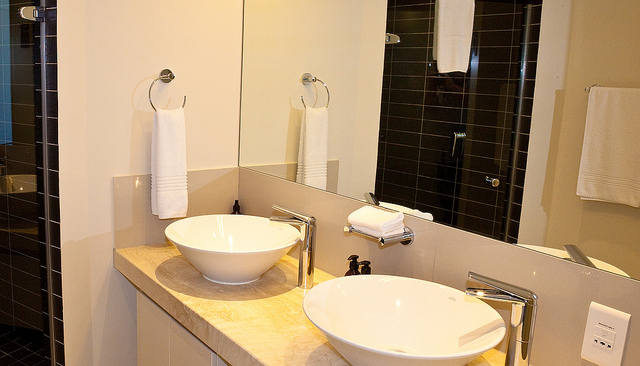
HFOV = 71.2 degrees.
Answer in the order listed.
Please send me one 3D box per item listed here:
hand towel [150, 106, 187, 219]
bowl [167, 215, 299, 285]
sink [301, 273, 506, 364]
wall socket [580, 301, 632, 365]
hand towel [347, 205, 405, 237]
[{"bbox_3d":[-0.850,-0.113,2.527,0.227,0.602,0.120,1,3,-18],"label":"hand towel"},{"bbox_3d":[-0.473,0.370,2.401,0.654,0.247,0.723,11,3,7],"label":"bowl"},{"bbox_3d":[0.336,0.592,1.844,0.774,0.234,0.470,6,16,22],"label":"sink"},{"bbox_3d":[1.110,0.583,1.728,0.134,0.217,0.074,9,19,30],"label":"wall socket"},{"bbox_3d":[0.271,0.183,2.134,0.269,0.098,0.159,3,15,10],"label":"hand towel"}]
